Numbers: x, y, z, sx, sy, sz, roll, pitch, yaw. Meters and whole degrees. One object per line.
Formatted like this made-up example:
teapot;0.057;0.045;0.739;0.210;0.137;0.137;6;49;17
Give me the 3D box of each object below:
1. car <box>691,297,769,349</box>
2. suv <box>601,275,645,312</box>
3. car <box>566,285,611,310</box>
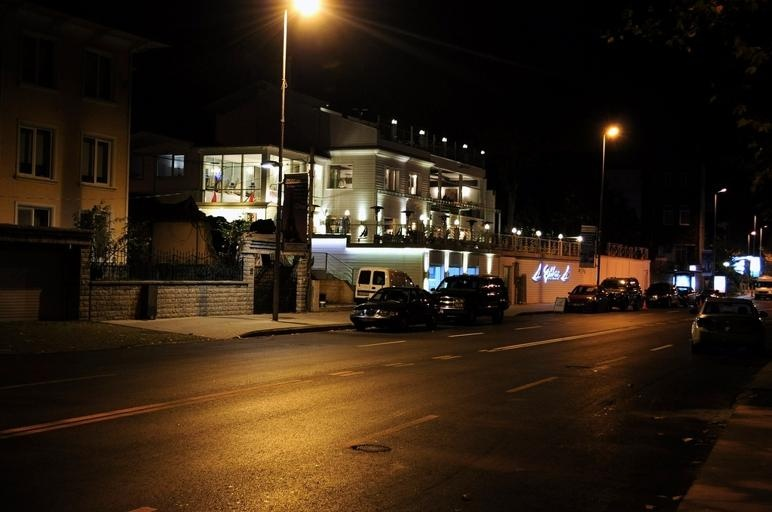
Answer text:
car;11.867;2.415;24.326;2.086;1.844;2.437;0;-4;33
suv;18.335;3.014;55.156;2.287;2.365;4.461;-3;-7;29
car;14.495;3.087;50.414;1.720;1.920;3.705;-1;-4;44
